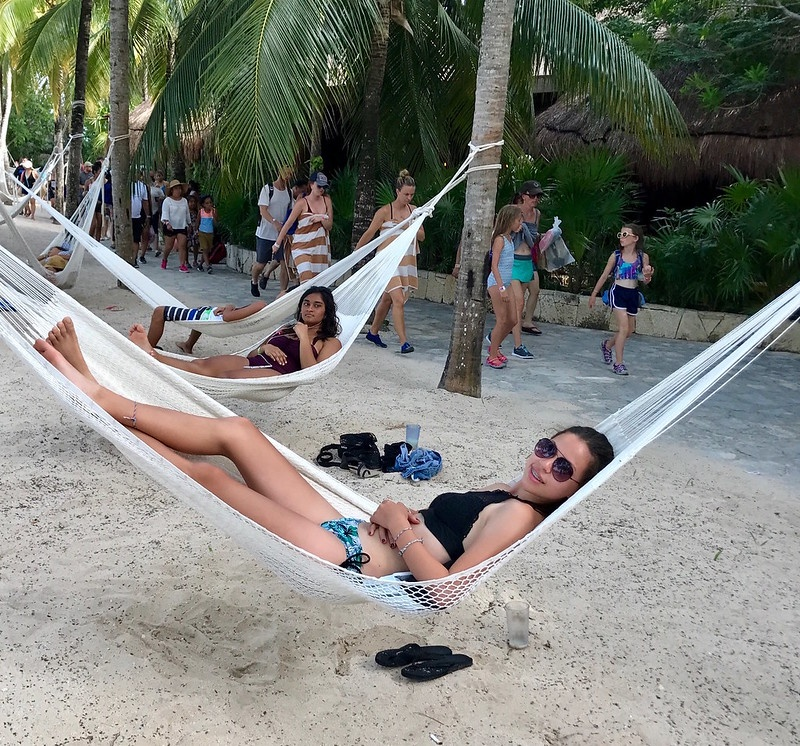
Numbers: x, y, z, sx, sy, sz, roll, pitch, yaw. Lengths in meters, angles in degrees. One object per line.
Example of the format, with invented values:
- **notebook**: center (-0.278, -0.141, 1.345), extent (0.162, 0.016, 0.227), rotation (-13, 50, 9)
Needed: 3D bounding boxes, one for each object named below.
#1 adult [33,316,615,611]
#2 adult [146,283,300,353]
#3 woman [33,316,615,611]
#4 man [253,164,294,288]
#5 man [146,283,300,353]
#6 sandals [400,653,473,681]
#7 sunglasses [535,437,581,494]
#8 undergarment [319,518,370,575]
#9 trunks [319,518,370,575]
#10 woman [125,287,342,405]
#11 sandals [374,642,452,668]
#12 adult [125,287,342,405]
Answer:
- **adult**: center (-0.257, 0.306, 2.207), extent (1.666, 0.490, 0.624), rotation (10, 10, 17)
- **adult**: center (-1.276, -0.463, 5.077), extent (0.850, 0.356, 0.466), rotation (4, -26, -6)
- **woman**: center (-0.257, 0.307, 2.206), extent (1.664, 0.490, 0.623), rotation (10, 10, 17)
- **man**: center (-1.395, -1.631, 8.370), extent (0.516, 1.462, 0.558), rotation (-5, 19, -33)
- **man**: center (-1.293, -0.463, 5.073), extent (0.850, 0.356, 0.466), rotation (4, -26, -6)
- **sandals**: center (0.116, 0.880, 2.203), extent (0.208, 0.030, 0.072), rotation (-5, 22, -25)
- **sunglasses**: center (0.463, 0.262, 2.165), extent (0.117, 0.122, 0.043), rotation (38, 64, 19)
- **undergarment**: center (-0.175, 0.494, 2.155), extent (0.162, 0.062, 0.101), rotation (36, 34, 28)
- **trunks**: center (-0.150, 0.487, 2.137), extent (0.162, 0.062, 0.101), rotation (36, 34, 28)
- **woman**: center (-0.895, -0.178, 4.317), extent (1.028, 0.609, 0.684), rotation (3, 9, -8)
- **sandals**: center (0.036, 0.861, 2.244), extent (0.220, 0.059, 0.085), rotation (-3, 5, -17)
- **adult**: center (-0.888, -0.145, 4.300), extent (1.028, 0.609, 0.684), rotation (3, 9, -8)
